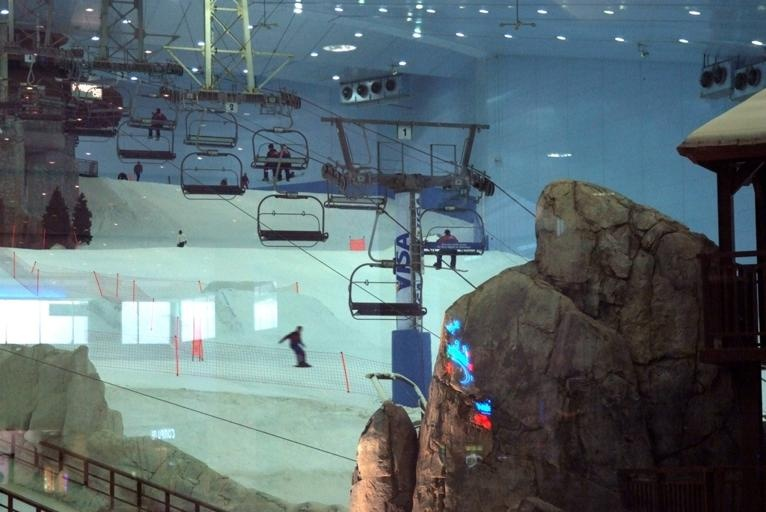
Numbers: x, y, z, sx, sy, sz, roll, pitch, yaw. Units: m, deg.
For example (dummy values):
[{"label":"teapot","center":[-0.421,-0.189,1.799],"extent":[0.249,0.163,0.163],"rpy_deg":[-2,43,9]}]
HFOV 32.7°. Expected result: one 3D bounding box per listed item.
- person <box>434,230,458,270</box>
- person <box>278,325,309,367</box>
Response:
[{"label":"person","center":[1.916,-0.230,39.708],"extent":[0.686,1.237,2.434],"rpy_deg":[2,0,3]},{"label":"person","center":[-3.011,3.039,43.400],"extent":[0.998,0.484,1.341],"rpy_deg":[-1,-31,0]}]
